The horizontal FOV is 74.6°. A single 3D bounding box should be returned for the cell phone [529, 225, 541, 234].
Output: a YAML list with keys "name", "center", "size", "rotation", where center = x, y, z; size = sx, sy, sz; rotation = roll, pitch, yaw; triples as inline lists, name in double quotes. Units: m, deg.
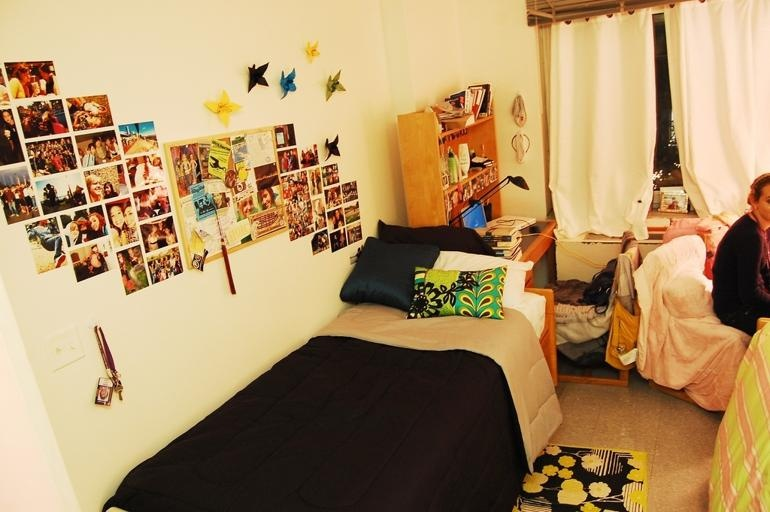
- name: "cell phone"
  center: [1.321, -0.230, 4.435]
  size: [0.083, 0.059, 0.082]
  rotation: [-7, 14, -29]

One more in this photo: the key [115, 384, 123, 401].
- name: "key"
  center: [-1.264, 0.658, 2.415]
  size: [0.012, 0.086, 0.035]
  rotation: [9, 23, 36]

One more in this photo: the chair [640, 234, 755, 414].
- name: "chair"
  center: [2.294, 0.361, 3.672]
  size: [0.726, 0.909, 1.297]
  rotation: [13, 22, 35]

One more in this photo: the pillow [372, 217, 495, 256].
- name: "pillow"
  center: [0.364, -0.140, 3.735]
  size: [0.435, 0.133, 0.391]
  rotation: [13, 15, 13]

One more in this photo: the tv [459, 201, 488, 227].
- name: "tv"
  center: [0.763, -0.346, 4.280]
  size: [0.057, 0.229, 0.248]
  rotation: [3, -15, 43]

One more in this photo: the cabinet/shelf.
- name: "cabinet/shelf"
  center: [0.723, -0.521, 4.030]
  size: [0.854, 1.749, 1.280]
  rotation: [1, 19, 24]

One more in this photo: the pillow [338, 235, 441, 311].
- name: "pillow"
  center: [0.016, 0.143, 3.654]
  size: [0.703, 0.190, 0.692]
  rotation: [4, 43, 10]

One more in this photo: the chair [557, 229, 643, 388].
- name: "chair"
  center: [1.654, 0.366, 4.241]
  size: [0.732, 0.935, 1.360]
  rotation: [-1, 8, 15]

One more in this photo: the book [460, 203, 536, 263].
- name: "book"
  center: [0.895, -0.178, 4.034]
  size: [0.558, 0.208, 0.478]
  rotation: [0, 21, 26]
